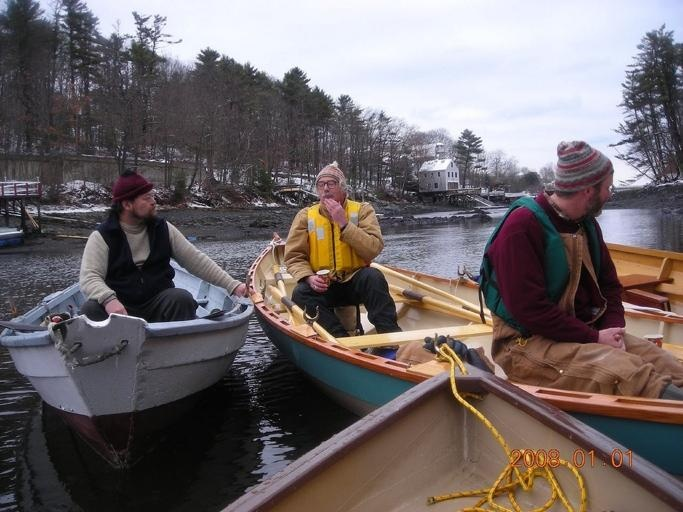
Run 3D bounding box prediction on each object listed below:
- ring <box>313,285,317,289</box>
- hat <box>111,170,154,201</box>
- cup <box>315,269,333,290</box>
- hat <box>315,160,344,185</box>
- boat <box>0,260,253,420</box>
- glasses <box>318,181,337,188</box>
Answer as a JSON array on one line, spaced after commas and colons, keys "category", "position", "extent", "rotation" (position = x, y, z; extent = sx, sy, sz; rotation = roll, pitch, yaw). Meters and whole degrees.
[{"category": "ring", "position": [-0.247, 0.285, 4.606], "extent": [0.027, 0.021, 0.078], "rotation": [-1, -5, -9]}, {"category": "hat", "position": [-1.760, -0.573, 4.072], "extent": [0.303, 0.258, 0.281], "rotation": [5, 13, 29]}, {"category": "cup", "position": [-0.176, 0.218, 4.677], "extent": [0.166, 0.132, 0.171], "rotation": [-1, 14, 0]}, {"category": "hat", "position": [-0.133, -0.842, 4.937], "extent": [0.283, 0.217, 0.205], "rotation": [14, 25, 33]}, {"category": "boat", "position": [-1.726, 0.681, 4.160], "extent": [1.951, 0.941, 1.753], "rotation": [-3, 12, -10]}, {"category": "glasses", "position": [-0.128, -0.693, 4.829], "extent": [0.176, 0.073, 0.057], "rotation": [-3, 12, -12]}]
